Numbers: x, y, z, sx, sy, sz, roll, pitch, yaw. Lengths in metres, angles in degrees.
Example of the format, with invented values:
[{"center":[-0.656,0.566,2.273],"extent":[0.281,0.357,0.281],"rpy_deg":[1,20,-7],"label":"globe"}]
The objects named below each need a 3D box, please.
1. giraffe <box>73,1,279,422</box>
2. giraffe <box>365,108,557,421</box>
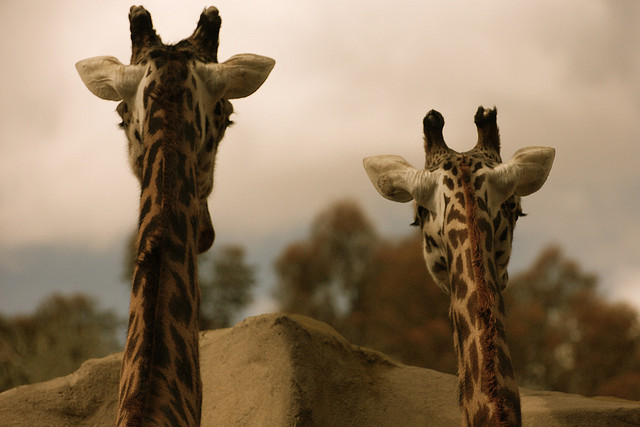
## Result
[{"center":[-1.957,-0.110,18.150],"extent":[1.994,5.610,0.973],"rpy_deg":[3,-22,-11],"label":"giraffe"},{"center":[2.042,0.610,18.787],"extent":[2.201,4.424,0.950],"rpy_deg":[-4,-22,9],"label":"giraffe"}]
